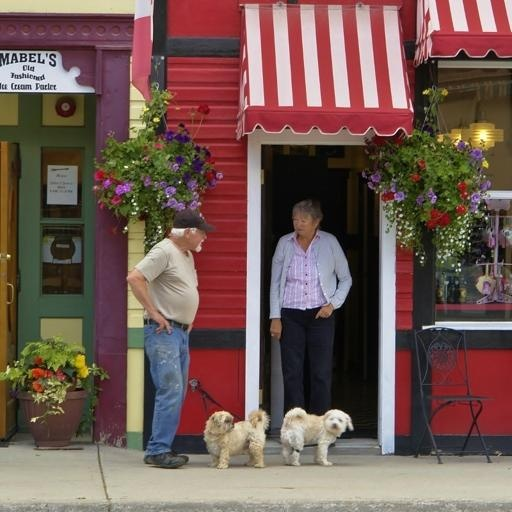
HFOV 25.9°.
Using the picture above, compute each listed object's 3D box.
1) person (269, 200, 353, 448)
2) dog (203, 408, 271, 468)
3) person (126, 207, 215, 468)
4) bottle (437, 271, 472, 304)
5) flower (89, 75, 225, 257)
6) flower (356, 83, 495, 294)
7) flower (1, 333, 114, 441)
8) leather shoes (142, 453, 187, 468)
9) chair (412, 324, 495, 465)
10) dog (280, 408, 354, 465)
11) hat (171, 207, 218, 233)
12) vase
[{"bbox_3d":[0.446,0.391,9.272,0.653,1.728,0.786,1,4,-3],"label":"person"},{"bbox_3d":[-0.143,1.379,8.441,0.504,0.435,0.331,2,-7,-24],"label":"dog"},{"bbox_3d":[-0.649,0.627,8.224,0.609,1.954,0.360,0,4,-15],"label":"person"},{"bbox_3d":[1.606,0.253,8.984,0.235,0.483,0.232,0,2,0],"label":"bottle"},{"bbox_3d":[-0.940,-0.772,9.421,1.155,1.631,1.137,1,4,-38],"label":"flower"},{"bbox_3d":[1.379,-0.615,8.911,0.987,1.510,0.581,2,4,5],"label":"flower"},{"bbox_3d":[-1.582,1.105,9.151,0.769,0.778,0.821,1,-9,6],"label":"flower"},{"bbox_3d":[-0.679,1.515,8.366,0.306,0.157,0.122,0,0,5],"label":"leather shoes"},{"bbox_3d":[1.568,1.106,8.908,0.610,1.046,0.491,2,4,7],"label":"chair"},{"bbox_3d":[0.471,1.372,8.534,0.528,0.468,0.258,1,9,-11],"label":"dog"},{"bbox_3d":[-0.451,-0.269,8.217,0.231,0.134,0.163,3,18,-10],"label":"hat"},{"bbox_3d":[-1.582,1.266,8.855,0.440,0.366,0.468,0,-6,-4],"label":"vase"}]
